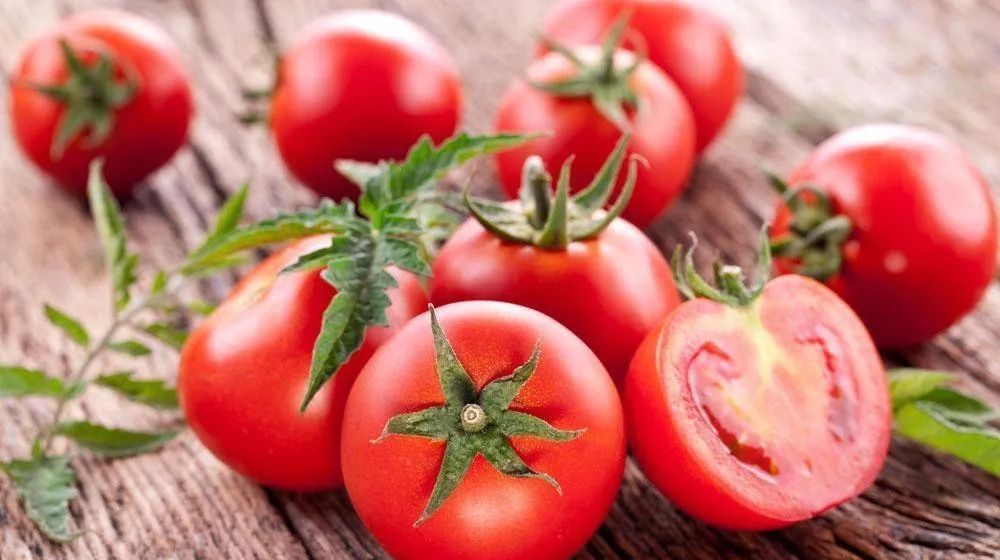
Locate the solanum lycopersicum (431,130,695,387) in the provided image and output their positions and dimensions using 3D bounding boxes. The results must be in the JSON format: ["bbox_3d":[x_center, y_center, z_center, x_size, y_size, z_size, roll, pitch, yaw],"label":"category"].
[{"bbox_3d":[0.062,-0.028,1.315,0.278,0.353,0.288,0,23,-1],"label":"solanum lycopersicum"}]

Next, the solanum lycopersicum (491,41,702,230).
[{"bbox_3d":[0.139,-0.190,1.439,0.241,0.239,0.249,-38,68,-25],"label":"solanum lycopersicum"}]

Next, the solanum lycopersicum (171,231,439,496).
[{"bbox_3d":[-0.256,0.104,1.258,0.305,0.243,0.222,-36,34,-13],"label":"solanum lycopersicum"}]

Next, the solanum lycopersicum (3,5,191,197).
[{"bbox_3d":[-0.544,-0.231,1.523,0.255,0.258,0.255,-12,82,-1],"label":"solanum lycopersicum"}]

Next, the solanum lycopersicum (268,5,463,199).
[{"bbox_3d":[-0.208,-0.254,1.515,0.260,0.245,0.248,-8,66,-16],"label":"solanum lycopersicum"}]
